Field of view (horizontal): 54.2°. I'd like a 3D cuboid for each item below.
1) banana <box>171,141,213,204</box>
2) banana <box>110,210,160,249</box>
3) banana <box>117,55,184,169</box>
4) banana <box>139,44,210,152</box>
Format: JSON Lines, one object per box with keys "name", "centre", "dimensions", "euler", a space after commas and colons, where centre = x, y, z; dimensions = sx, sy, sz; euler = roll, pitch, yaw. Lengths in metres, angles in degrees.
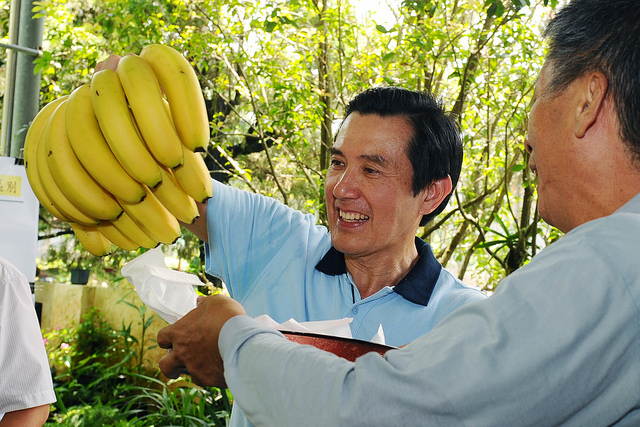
{"name": "banana", "centre": [-0.432, -0.141, 2.206], "dimensions": [0.109, 0.214, 0.074], "euler": [-25, 5, 34]}
{"name": "banana", "centre": [-0.664, 0.049, 2.239], "dimensions": [0.033, 0.142, 0.048], "euler": [-33, 15, 44]}
{"name": "banana", "centre": [-0.587, -0.327, 2.155], "dimensions": [0.123, 0.432, 0.108], "euler": [-34, 59, -25]}
{"name": "banana", "centre": [-0.476, -0.396, 2.170], "dimensions": [0.100, 0.367, 0.194], "euler": [-11, -9, -42]}
